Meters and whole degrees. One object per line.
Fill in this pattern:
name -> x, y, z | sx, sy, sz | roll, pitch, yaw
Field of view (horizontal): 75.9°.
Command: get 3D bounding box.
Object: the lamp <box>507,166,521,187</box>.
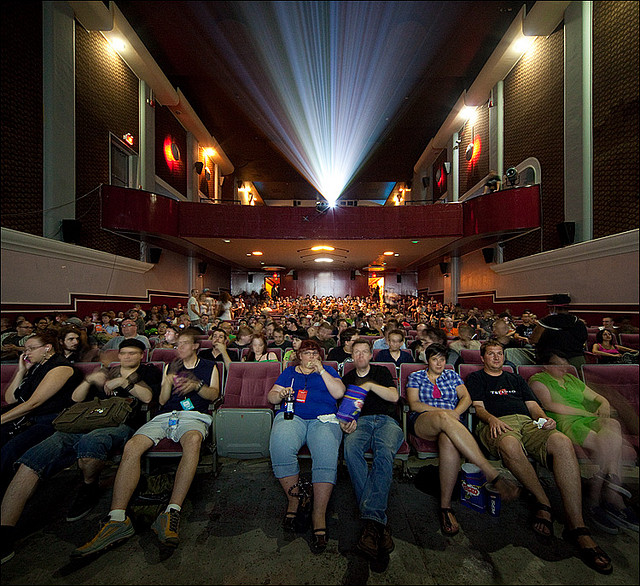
lamp -> 4.794, -2.812, 10.126 | 0.313, 0.450, 0.883 | 4, 12, 24

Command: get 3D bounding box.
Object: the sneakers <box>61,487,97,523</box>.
sneakers -> -1.920, 1.673, 3.231 | 0.127, 0.147, 0.353 | 15, -17, -20

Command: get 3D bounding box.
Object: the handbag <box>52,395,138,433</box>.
handbag -> -1.888, 1.016, 3.411 | 0.380, 0.148, 0.289 | -5, 4, 0

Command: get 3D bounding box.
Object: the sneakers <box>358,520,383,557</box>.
sneakers -> 0.370, 1.731, 2.892 | 0.171, 0.130, 0.221 | 2, 11, 15

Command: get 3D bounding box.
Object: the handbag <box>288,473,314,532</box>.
handbag -> -0.154, 1.656, 3.214 | 0.165, 0.351, 0.087 | 0, -15, 9

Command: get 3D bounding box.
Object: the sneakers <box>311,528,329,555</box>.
sneakers -> -0.009, 1.771, 2.920 | 0.092, 0.147, 0.146 | 2, -25, -1

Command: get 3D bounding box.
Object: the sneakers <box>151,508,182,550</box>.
sneakers -> -1.096, 1.692, 2.933 | 0.132, 0.168, 0.363 | 29, -31, -27

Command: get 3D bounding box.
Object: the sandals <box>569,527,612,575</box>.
sandals -> 1.863, 1.761, 2.799 | 0.106, 0.073, 0.292 | -9, -2, 3

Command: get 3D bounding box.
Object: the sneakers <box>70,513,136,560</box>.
sneakers -> -1.518, 1.733, 2.962 | 0.158, 0.221, 0.460 | -14, -16, 39

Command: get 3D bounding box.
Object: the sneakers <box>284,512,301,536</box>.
sneakers -> -0.212, 1.763, 3.114 | 0.112, 0.067, 0.195 | 1, -5, -6

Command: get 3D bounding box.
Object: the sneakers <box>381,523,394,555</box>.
sneakers -> 0.487, 1.752, 2.906 | 0.098, 0.157, 0.039 | 20, -47, -31

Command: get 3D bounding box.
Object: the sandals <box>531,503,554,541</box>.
sandals -> 1.689, 1.707, 3.111 | 0.095, 0.089, 0.298 | -15, 30, 21
